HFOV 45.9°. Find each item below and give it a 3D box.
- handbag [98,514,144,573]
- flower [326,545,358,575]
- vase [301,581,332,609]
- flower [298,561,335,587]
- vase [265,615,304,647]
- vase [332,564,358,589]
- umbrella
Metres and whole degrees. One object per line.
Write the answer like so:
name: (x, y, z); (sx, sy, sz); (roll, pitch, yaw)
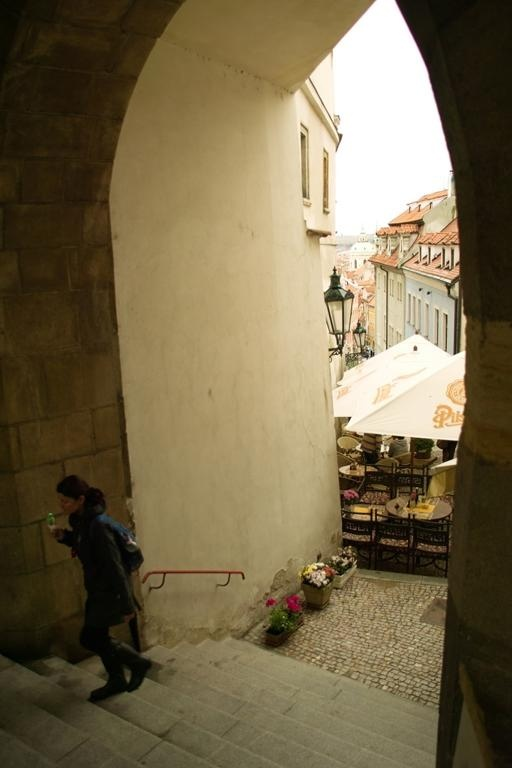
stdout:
handbag: (-0.746, 0.893, 3.544); (0.182, 0.249, 0.251); (-31, 2, -5)
flower: (1.118, 2.284, 7.839); (0.219, 0.134, 0.374); (5, 8, 20)
vase: (0.680, 2.443, 6.958); (0.268, 0.311, 0.345); (-1, -1, 20)
flower: (0.713, 2.209, 7.027); (0.262, 0.186, 0.267); (-3, 13, -24)
vase: (0.314, 2.585, 6.336); (0.226, 0.296, 0.554); (3, -13, 40)
vase: (1.139, 2.472, 7.738); (0.119, 0.282, 0.581); (6, -11, 27)
umbrella: (2.490, 0.311, 10.627); (2.244, 0.897, 3.141); (-4, 22, 9)
